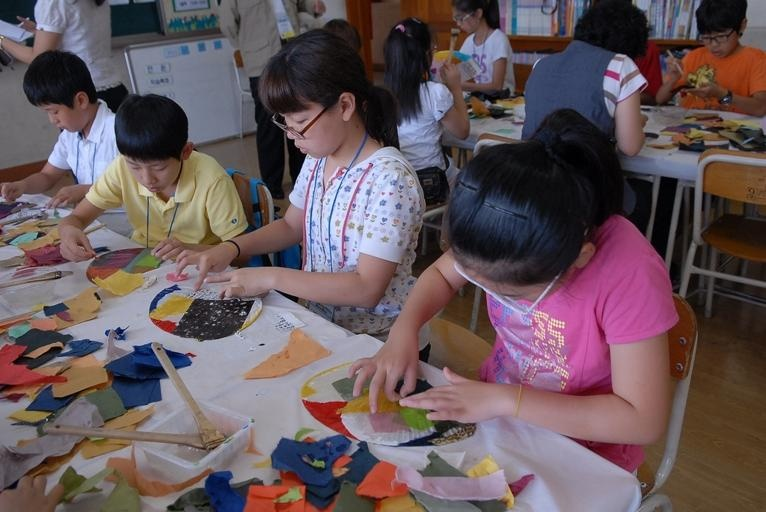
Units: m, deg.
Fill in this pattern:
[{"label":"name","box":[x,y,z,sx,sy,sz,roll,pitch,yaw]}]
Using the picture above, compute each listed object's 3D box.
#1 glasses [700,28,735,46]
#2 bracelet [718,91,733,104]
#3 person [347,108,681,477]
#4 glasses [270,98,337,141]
[{"label":"glasses","box":[1.985,-1.302,3.174,0.174,0.081,0.106,14,28,35]},{"label":"bracelet","box":[1.968,-0.918,3.062,0.056,0.038,0.059,-59,4,-21]},{"label":"person","box":[0.317,0.142,1.258,0.673,0.893,0.509,11,25,31]},{"label":"glasses","box":[-0.245,-0.434,1.622,0.135,0.037,0.129,-46,34,-9]}]
